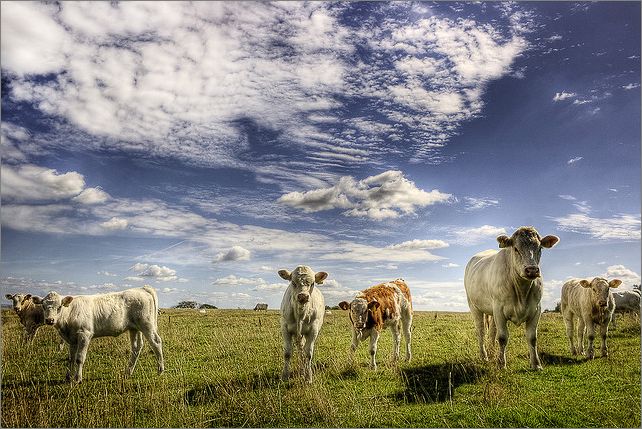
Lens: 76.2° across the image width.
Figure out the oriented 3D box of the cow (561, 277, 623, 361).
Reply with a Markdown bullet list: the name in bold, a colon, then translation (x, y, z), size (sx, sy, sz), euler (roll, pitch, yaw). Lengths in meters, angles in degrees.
- **cow**: translation (12.344, 4.557, 18.866), size (1.870, 3.638, 3.552), euler (-1, -2, 15)

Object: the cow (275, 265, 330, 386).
- **cow**: translation (-0.718, 3.979, 15.573), size (1.685, 4.183, 2.324), euler (-2, -2, 17)
